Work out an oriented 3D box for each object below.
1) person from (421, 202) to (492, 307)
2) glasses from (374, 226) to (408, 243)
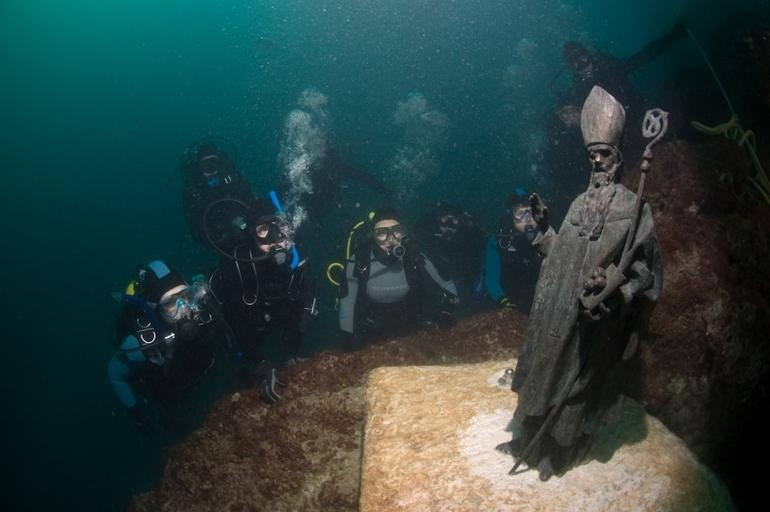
[{"bbox_3d":[1.152,-0.053,10.481,1.132,1.613,0.555,-9,-3,-2],"label":"person"},{"bbox_3d":[0.056,-0.337,10.322,0.473,0.241,0.093,-10,21,1],"label":"glasses"}]
